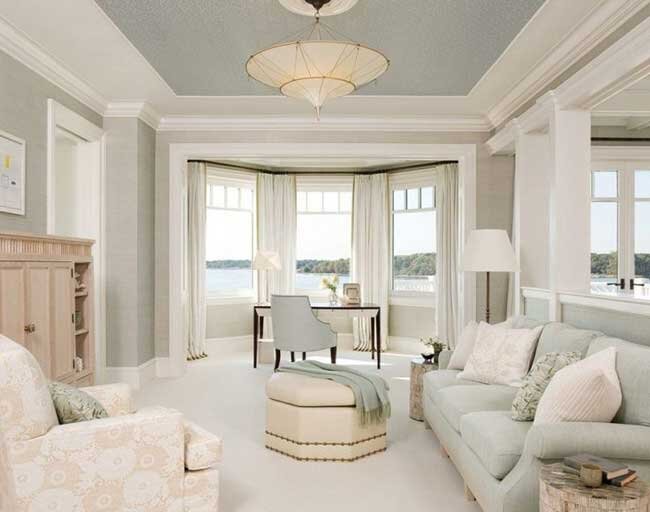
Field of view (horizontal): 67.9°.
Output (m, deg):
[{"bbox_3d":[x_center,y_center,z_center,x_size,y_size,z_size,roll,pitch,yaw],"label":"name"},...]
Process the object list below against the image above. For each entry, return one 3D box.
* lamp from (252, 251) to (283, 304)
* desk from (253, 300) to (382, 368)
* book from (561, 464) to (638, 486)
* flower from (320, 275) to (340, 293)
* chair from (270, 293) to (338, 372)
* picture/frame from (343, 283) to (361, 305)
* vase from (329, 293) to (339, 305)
[{"bbox_3d":[-0.827,0.309,6.885,0.349,0.763,0.921,0,2,-6],"label":"lamp"},{"bbox_3d":[-0.073,1.053,6.437,1.658,0.968,0.624,2,9,-12],"label":"desk"},{"bbox_3d":[1.240,0.972,2.138,0.122,0.024,0.152,7,-5,-43],"label":"book"},{"bbox_3d":[0.083,0.403,6.822,0.227,0.249,0.228,2,2,25],"label":"flower"},{"bbox_3d":[-0.178,0.839,5.628,0.715,1.122,0.814,0,-1,33],"label":"chair"},{"bbox_3d":[0.361,0.527,6.496,0.261,0.354,0.028,0,-21,0],"label":"picture/frame"},{"bbox_3d":[0.120,0.600,6.680,0.134,0.219,0.128,0,-7,1],"label":"vase"}]
